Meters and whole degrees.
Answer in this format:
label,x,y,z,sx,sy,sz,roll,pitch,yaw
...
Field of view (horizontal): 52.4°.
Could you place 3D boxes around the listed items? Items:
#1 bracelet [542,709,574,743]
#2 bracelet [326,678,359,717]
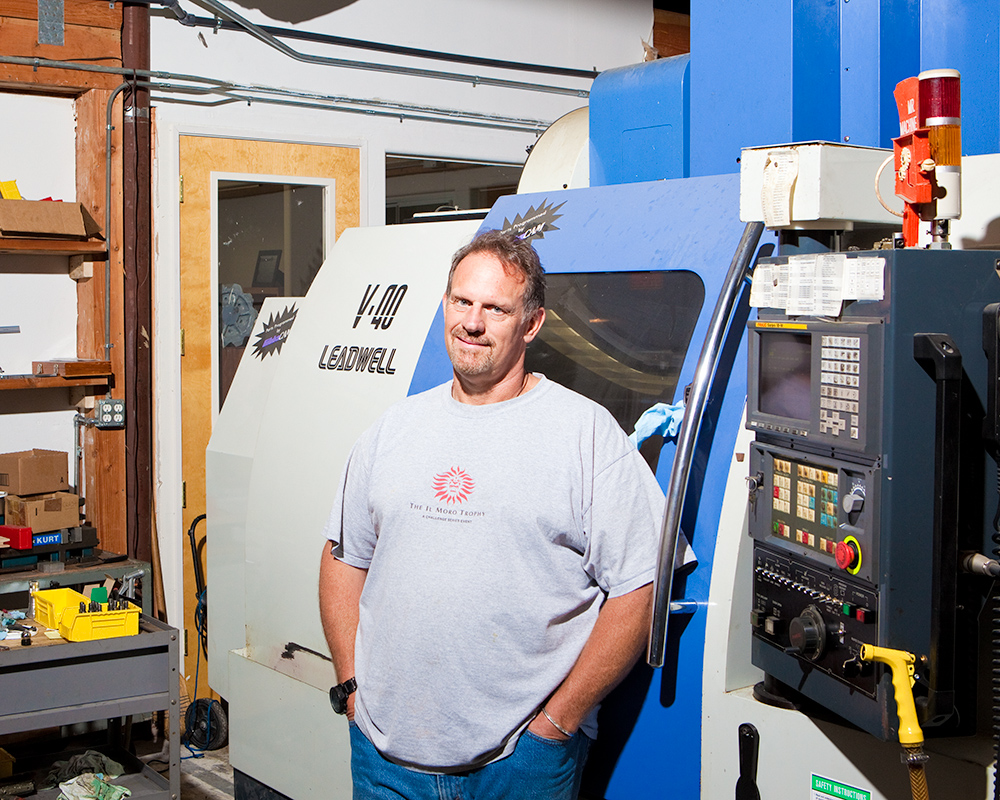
label,x,y,z,sx,sy,sz,roll,pitch,yaw
bracelet,0.119,0.668,2.097,0.057,0.015,0.050,50,-3,-4
bracelet,-0.374,0.697,2.389,0.081,0.104,0.058,5,-1,-39
